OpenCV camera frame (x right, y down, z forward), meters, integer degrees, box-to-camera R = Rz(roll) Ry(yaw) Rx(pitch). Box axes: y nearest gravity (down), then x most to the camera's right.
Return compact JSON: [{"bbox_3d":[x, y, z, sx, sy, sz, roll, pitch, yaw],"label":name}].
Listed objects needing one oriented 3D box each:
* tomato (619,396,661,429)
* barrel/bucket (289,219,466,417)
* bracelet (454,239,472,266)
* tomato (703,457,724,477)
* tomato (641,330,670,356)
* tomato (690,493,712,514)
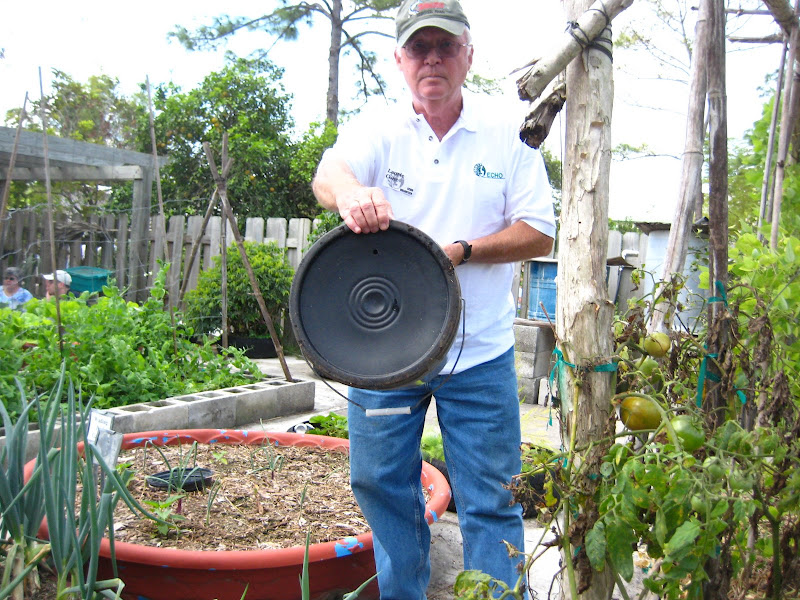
[{"bbox_3d":[0.711,0.331,1.959,0.067,0.087,0.100,1,3,-13],"label":"tomato"},{"bbox_3d":[-0.084,0.012,2.116,0.553,0.477,0.154,0,0,19],"label":"barrel/bucket"},{"bbox_3d":[0.236,-0.176,2.324,0.069,0.091,0.047,-1,-2,40],"label":"bracelet"},{"bbox_3d":[0.817,0.432,1.731,0.039,0.042,0.045,-29,-45,2],"label":"tomato"},{"bbox_3d":[0.826,0.140,2.139,0.071,0.081,0.040,-28,-23,26],"label":"tomato"},{"bbox_3d":[0.766,0.514,1.688,0.039,0.062,0.045,-1,39,10],"label":"tomato"}]
